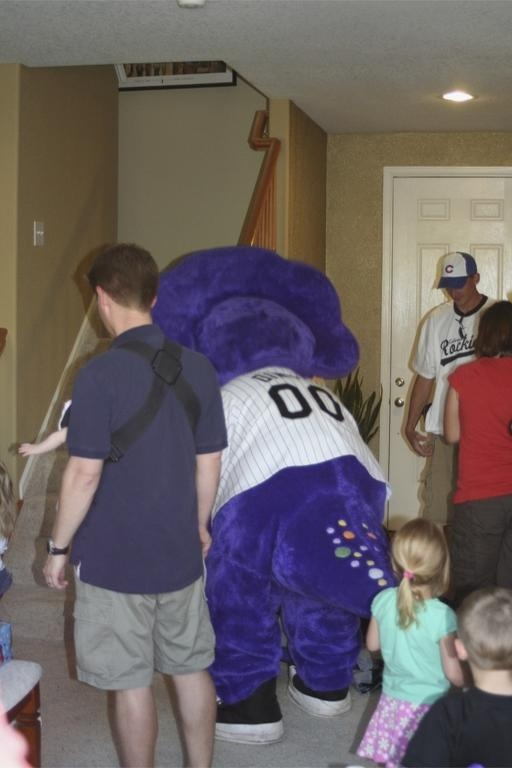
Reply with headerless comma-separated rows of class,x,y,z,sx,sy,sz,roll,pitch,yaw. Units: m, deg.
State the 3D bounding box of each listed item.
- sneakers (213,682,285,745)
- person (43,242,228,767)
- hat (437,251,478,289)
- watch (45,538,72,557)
sneakers,-0.019,0.922,1.825,0.208,0.151,0.134,2,-1,7
person,-0.244,0.310,1.400,0.414,1.215,0.308,-1,7,-22
hat,1.019,-0.575,3.258,0.178,0.188,0.161,5,7,24
watch,-0.416,0.349,1.334,0.068,0.032,0.061,4,-21,-20
